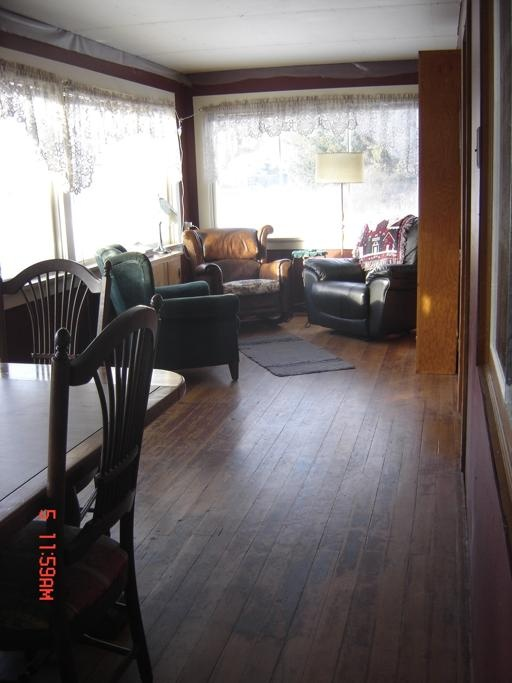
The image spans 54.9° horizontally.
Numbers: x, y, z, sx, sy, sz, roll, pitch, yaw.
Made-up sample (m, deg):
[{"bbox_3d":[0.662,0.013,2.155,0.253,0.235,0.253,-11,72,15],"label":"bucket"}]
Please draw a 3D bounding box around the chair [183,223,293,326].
[{"bbox_3d":[-0.235,-0.819,6.139,1.141,1.421,1.116,-7,2,-31],"label":"chair"}]

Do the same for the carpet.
[{"bbox_3d":[0.306,0.114,4.847,0.793,0.164,1.418,-4,9,-19],"label":"carpet"}]

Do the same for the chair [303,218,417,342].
[{"bbox_3d":[1.189,-0.735,5.491,0.943,1.331,1.224,-5,12,-33],"label":"chair"}]

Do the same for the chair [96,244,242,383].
[{"bbox_3d":[-0.610,-0.159,3.847,0.992,1.367,0.994,-5,13,-19],"label":"chair"}]
